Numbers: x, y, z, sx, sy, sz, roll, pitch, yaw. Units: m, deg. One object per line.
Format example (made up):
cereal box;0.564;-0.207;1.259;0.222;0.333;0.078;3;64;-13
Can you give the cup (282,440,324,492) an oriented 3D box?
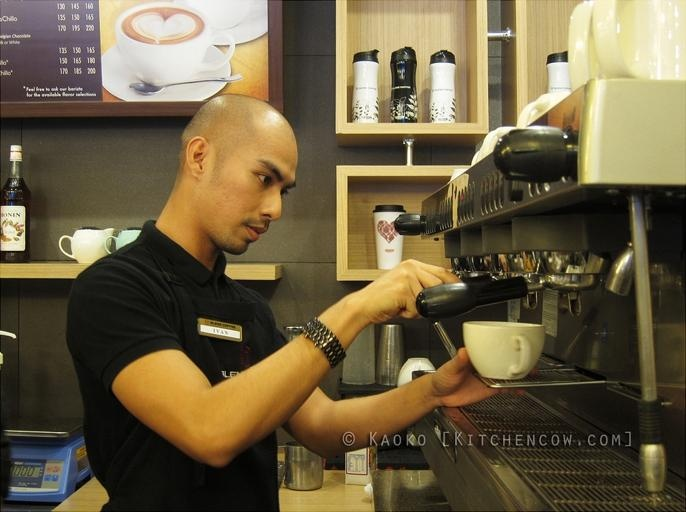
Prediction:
cup;-0.115;0.612;1.764;0.108;0.125;0.114;-1;-5;0

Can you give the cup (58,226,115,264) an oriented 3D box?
cup;-0.803;-0.026;1.896;0.145;0.109;0.116;0;-1;-32

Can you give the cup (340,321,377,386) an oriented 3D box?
cup;0.046;0.329;1.993;0.126;0.224;0.133;0;13;0

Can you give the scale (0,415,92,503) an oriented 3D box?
scale;-0.877;0.612;1.806;0.227;0.124;0.228;3;-4;-25

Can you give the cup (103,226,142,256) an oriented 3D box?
cup;-0.598;-0.039;1.638;0.107;0.080;0.069;-10;4;11

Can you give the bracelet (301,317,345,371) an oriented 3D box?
bracelet;-0.035;0.145;0.980;0.076;0.072;0.032;12;14;23

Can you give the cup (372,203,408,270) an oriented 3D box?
cup;0.143;-0.054;1.918;0.122;0.203;0.120;-1;-5;0

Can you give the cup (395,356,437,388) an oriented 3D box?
cup;0.201;0.330;1.786;0.131;0.125;0.135;0;-4;0

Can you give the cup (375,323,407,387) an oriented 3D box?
cup;0.163;0.316;1.954;0.113;0.179;0.113;-2;-4;0

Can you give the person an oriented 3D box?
person;-0.069;0.178;1.577;0.925;1.294;0.686;-9;-10;22

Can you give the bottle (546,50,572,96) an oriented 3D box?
bottle;0.505;-0.431;1.438;0.055;0.089;0.054;-3;6;0

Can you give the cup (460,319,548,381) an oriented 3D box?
cup;0.276;0.164;1.024;0.129;0.098;0.175;0;0;3
